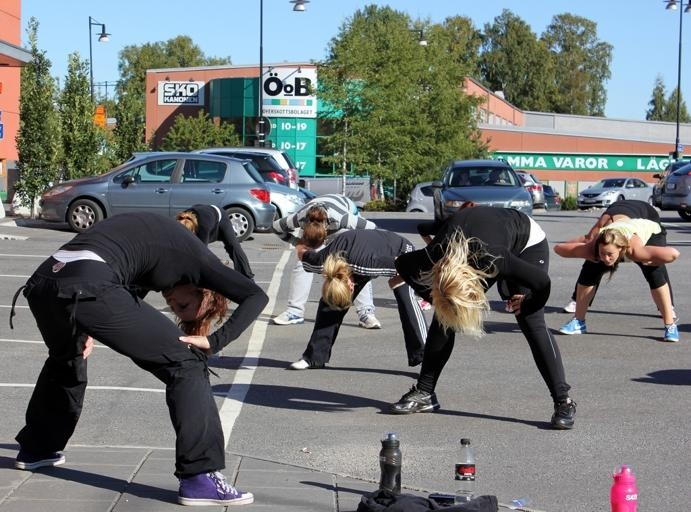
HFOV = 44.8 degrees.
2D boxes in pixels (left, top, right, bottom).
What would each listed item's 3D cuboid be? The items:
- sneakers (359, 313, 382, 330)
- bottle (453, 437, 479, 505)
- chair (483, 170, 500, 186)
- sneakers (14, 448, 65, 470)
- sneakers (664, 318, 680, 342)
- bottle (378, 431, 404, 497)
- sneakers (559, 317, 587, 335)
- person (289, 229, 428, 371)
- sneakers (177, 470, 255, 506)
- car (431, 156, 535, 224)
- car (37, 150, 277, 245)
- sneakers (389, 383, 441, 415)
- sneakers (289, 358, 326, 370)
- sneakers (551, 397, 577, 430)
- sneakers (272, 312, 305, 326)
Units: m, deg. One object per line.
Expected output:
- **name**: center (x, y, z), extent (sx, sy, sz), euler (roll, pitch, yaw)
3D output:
- **sneakers**: center (0.304, 0.816, 10.347), extent (0.127, 0.150, 0.313), euler (-1, 0, -34)
- **bottle**: center (0.692, 1.220, 4.816), extent (0.108, 0.395, 0.252), euler (2, 7, 7)
- **chair**: center (3.547, -1.871, 20.153), extent (0.358, 0.374, 0.341), euler (-7, 12, -31)
- **sneakers**: center (-1.963, 1.320, 5.453), extent (0.325, 0.122, 0.116), euler (-2, 4, -34)
- **sneakers**: center (3.650, 0.864, 9.361), extent (0.119, 0.131, 0.320), euler (-5, 2, 17)
- **bottle**: center (0.268, 1.222, 4.926), extent (0.124, 0.393, 0.169), euler (1, 7, 1)
- **sneakers**: center (2.697, 0.849, 9.933), extent (0.388, 0.168, 0.137), euler (0, 0, -17)
- **person**: center (0.086, 0.418, 7.899), extent (1.397, 0.820, 1.388), euler (-3, -9, 23)
- **sneakers**: center (-0.770, 1.380, 5.025), extent (0.457, 0.212, 0.173), euler (-1, -1, -8)
- **car**: center (3.168, -1.654, 19.622), extent (1.566, 1.266, 3.365), euler (0, 0, 0)
- **car**: center (-4.060, -1.236, 18.894), extent (4.956, 1.613, 2.198), euler (3, 1, 0)
- **sneakers**: center (0.575, 1.207, 6.924), extent (0.415, 0.204, 0.174), euler (1, -1, -19)
- **sneakers**: center (-0.380, 1.086, 8.331), extent (0.364, 0.143, 0.126), euler (4, -1, -11)
- **sneakers**: center (1.686, 1.230, 6.460), extent (0.121, 0.139, 0.303), euler (2, 6, 19)
- **sneakers**: center (-0.717, 0.792, 10.477), extent (0.405, 0.159, 0.152), euler (3, -2, -19)
